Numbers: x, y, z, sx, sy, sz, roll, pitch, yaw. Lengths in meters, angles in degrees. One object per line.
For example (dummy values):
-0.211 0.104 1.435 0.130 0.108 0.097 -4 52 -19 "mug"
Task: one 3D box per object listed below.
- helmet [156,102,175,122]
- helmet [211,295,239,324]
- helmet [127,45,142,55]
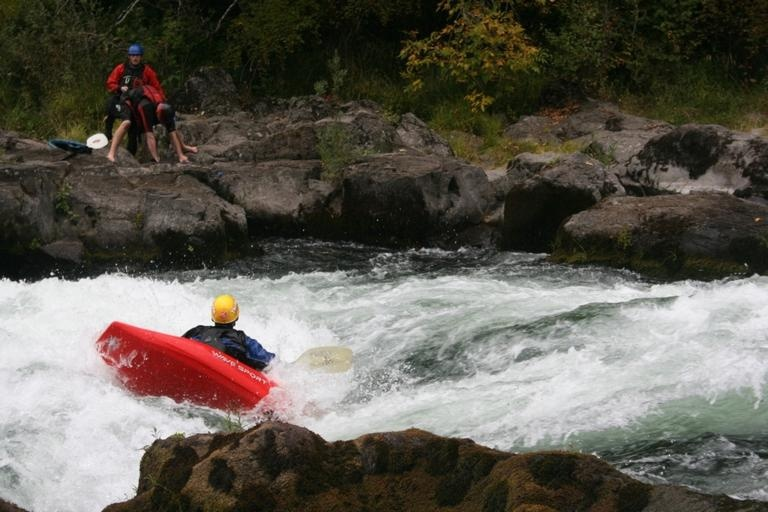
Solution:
-4.592 -3.042 26.175 0.331 0.376 0.372 -1 1 -35 "helmet"
-2.827 0.924 21.955 0.386 0.430 0.520 3 37 -1 "helmet"
-5.212 -4.321 25.945 0.270 0.223 0.263 2 30 -13 "helmet"
